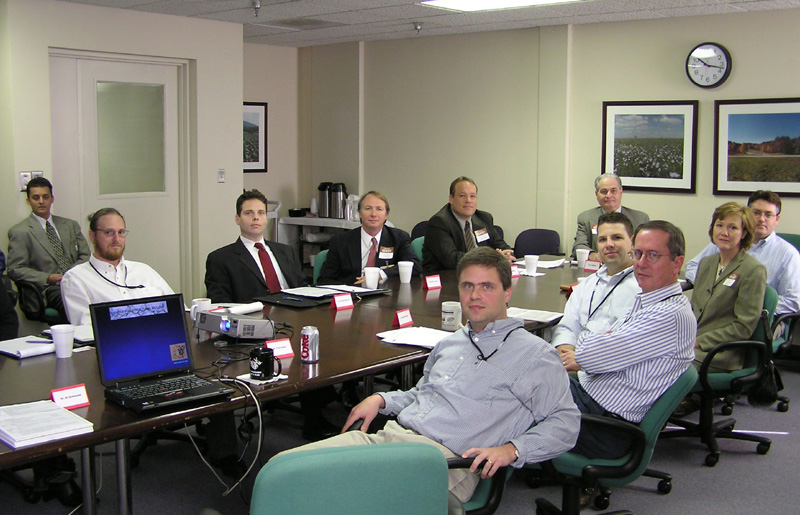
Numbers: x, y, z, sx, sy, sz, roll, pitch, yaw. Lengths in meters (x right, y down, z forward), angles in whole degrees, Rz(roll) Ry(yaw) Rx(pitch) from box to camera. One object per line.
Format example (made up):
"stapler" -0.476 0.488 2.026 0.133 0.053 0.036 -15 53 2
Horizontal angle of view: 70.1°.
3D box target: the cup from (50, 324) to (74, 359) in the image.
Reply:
"cup" -1.819 0.438 3.090 0.098 0.169 0.156 -9 12 -33

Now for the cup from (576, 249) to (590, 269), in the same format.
"cup" 1.758 -0.003 5.516 0.180 0.164 0.123 3 0 16

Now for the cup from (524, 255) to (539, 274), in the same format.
"cup" 1.241 0.060 5.311 0.154 0.172 0.151 0 4 0

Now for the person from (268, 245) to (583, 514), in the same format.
"person" 0.371 0.475 2.653 0.889 0.968 0.611 2 11 18

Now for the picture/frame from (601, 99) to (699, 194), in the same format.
"picture/frame" 2.985 -1.310 6.708 1.205 1.195 0.048 6 6 32

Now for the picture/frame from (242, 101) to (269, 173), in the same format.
"picture/frame" -2.235 -1.871 8.868 0.125 1.091 0.540 7 13 37

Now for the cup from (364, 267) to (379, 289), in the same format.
"cup" -0.220 0.150 4.482 0.145 0.157 0.146 0 7 0

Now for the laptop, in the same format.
"laptop" -1.122 0.430 2.667 0.502 0.427 0.491 -8 12 -31

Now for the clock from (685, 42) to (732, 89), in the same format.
"clock" 3.452 -2.151 6.350 0.514 0.512 0.101 -10 -2 42

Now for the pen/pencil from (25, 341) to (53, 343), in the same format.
"pen/pencil" -2.027 0.468 3.203 0.153 0.016 0.016 -1 14 6

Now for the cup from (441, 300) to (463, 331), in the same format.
"cup" 0.335 0.362 3.608 0.149 0.167 0.159 2 9 0

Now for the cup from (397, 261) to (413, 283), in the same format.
"cup" 0.047 0.116 4.910 0.161 0.169 0.157 0 6 0

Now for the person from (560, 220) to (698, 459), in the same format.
"person" 1.234 0.394 3.036 0.620 1.111 0.780 2 11 22
